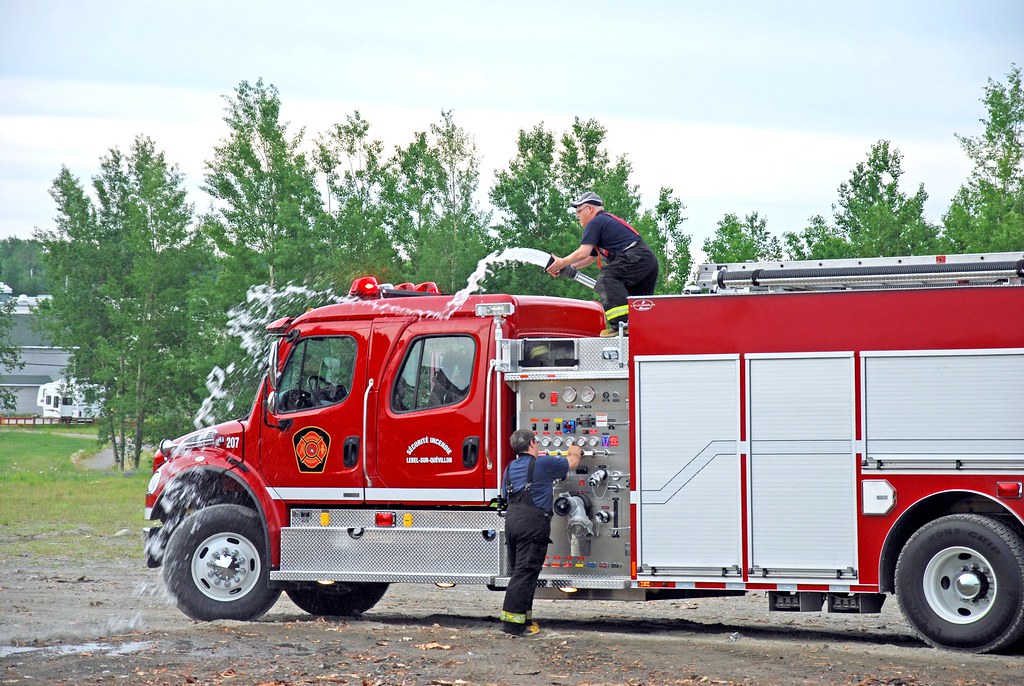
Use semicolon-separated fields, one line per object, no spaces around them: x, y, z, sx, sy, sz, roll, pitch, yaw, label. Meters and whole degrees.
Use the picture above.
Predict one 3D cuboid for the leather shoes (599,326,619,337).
1.244;-0.147;16.817;0.124;0.074;0.184;1;-8;-16;leather shoes
